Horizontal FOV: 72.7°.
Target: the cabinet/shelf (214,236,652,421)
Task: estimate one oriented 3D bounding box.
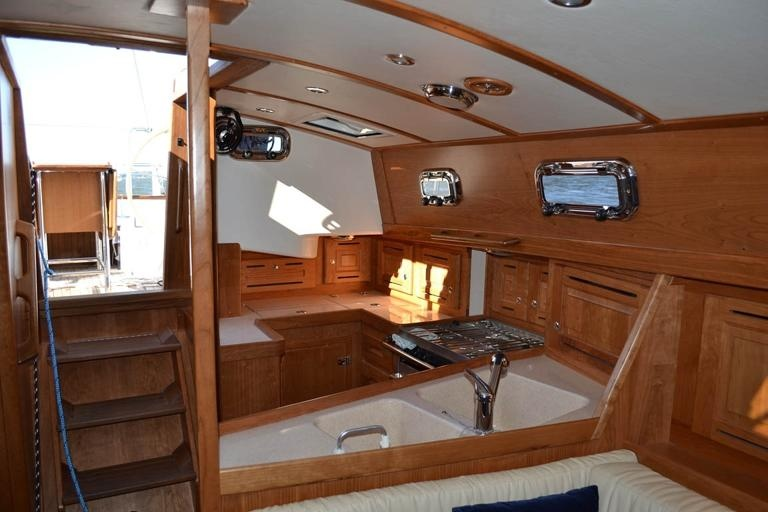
[{"bbox_3d":[-0.064,0.553,3.818,1.908,0.979,1.792,-5,12,-29],"label":"cabinet/shelf"}]

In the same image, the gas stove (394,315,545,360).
[{"bbox_3d":[0.622,0.585,3.684,0.756,0.110,0.891,-3,7,-25],"label":"gas stove"}]

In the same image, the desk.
[{"bbox_3d":[-2.226,-0.249,3.823,0.493,0.830,1.077,-4,9,-29],"label":"desk"}]

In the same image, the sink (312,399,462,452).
[{"bbox_3d":[-0.010,0.790,2.372,0.399,0.203,0.381,-1,6,-34],"label":"sink"}]

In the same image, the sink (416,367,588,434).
[{"bbox_3d":[0.589,0.692,2.648,0.497,0.229,0.616,-7,14,-29],"label":"sink"}]
